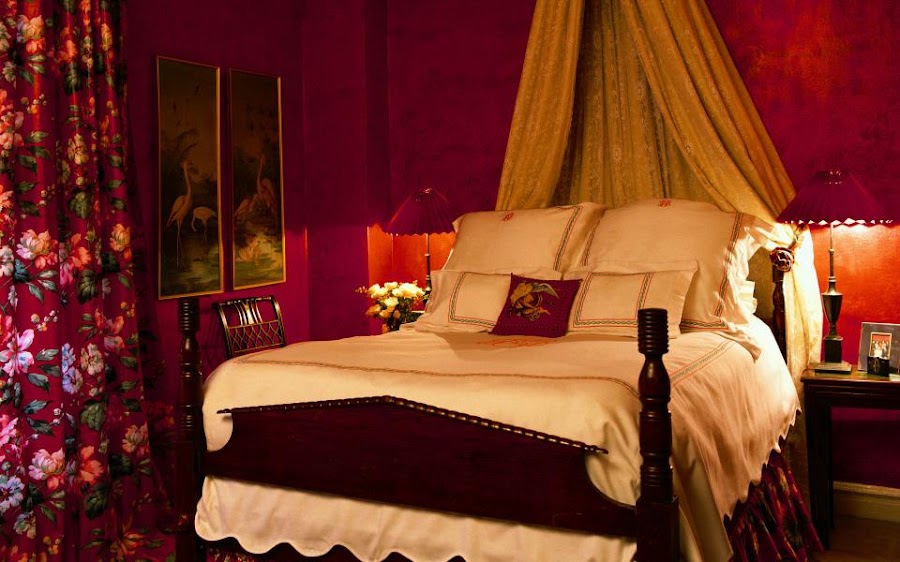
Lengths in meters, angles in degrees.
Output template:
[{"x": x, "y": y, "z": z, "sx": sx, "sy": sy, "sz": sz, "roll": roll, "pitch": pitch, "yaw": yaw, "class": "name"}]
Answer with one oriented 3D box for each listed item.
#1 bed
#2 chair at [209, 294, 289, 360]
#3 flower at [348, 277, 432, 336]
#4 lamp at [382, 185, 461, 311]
[{"x": 0.455, "y": 0.416, "z": 4.138, "sx": 2.707, "sy": 1.853, "sz": 2.271, "roll": 2, "pitch": 2, "yaw": 25, "class": "bed"}, {"x": -1.445, "y": 0.329, "z": 5.445, "sx": 0.387, "sy": 0.685, "sz": 0.450, "roll": -5, "pitch": 3, "yaw": -45, "class": "chair"}, {"x": -0.416, "y": 0.221, "z": 5.275, "sx": 0.423, "sy": 0.388, "sz": 0.415, "roll": 10, "pitch": -12, "yaw": -38, "class": "flower"}, {"x": -0.204, "y": -0.233, "z": 5.847, "sx": 0.666, "sy": 1.160, "sz": 0.859, "roll": -1, "pitch": 3, "yaw": -11, "class": "lamp"}]
